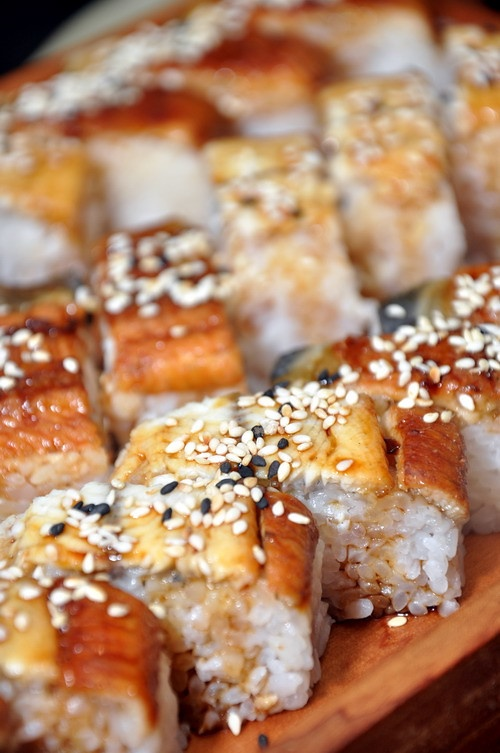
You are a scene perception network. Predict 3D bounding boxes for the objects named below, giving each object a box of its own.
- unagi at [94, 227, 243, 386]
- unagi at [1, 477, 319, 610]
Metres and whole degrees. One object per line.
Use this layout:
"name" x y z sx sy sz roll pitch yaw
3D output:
"unagi" -0.251 -0.181 2.123 0.372 0.165 0.475 -8 61 -6
"unagi" -0.165 0.314 1.501 0.522 0.155 0.276 0 17 3
